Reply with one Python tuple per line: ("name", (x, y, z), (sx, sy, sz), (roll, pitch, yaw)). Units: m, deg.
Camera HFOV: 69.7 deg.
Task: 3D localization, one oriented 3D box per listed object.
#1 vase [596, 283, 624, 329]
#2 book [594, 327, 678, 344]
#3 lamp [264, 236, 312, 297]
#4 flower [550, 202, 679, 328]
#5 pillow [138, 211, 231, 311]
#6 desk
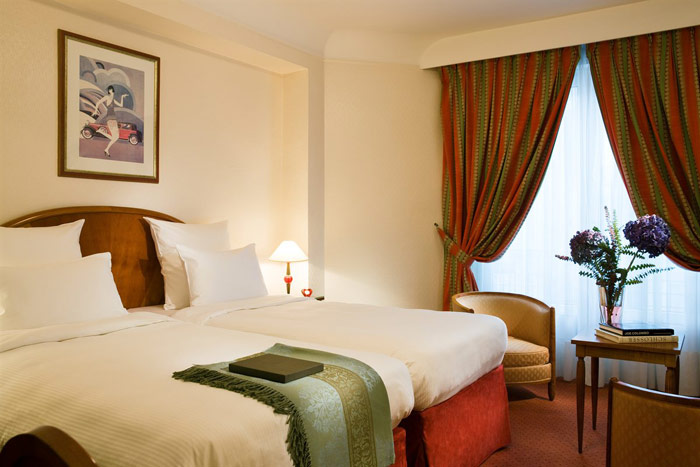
("vase", (2.268, 0.636, 4.365), (0.214, 0.368, 0.216), (1, 5, 33))
("book", (2.285, 0.833, 4.019), (0.583, 0.069, 0.227), (2, 3, 30))
("lamp", (-0.775, 0.352, 5.552), (0.491, 0.873, 0.555), (-1, -1, 36))
("flower", (2.420, 0.244, 4.787), (1.069, 0.978, 1.389), (2, 4, 38))
("pillow", (-1.526, 0.285, 4.537), (0.268, 0.677, 0.799), (-6, -5, 35))
("desk", (2.284, 1.276, 4.102), (0.750, 0.739, 0.614), (-2, -6, 34))
